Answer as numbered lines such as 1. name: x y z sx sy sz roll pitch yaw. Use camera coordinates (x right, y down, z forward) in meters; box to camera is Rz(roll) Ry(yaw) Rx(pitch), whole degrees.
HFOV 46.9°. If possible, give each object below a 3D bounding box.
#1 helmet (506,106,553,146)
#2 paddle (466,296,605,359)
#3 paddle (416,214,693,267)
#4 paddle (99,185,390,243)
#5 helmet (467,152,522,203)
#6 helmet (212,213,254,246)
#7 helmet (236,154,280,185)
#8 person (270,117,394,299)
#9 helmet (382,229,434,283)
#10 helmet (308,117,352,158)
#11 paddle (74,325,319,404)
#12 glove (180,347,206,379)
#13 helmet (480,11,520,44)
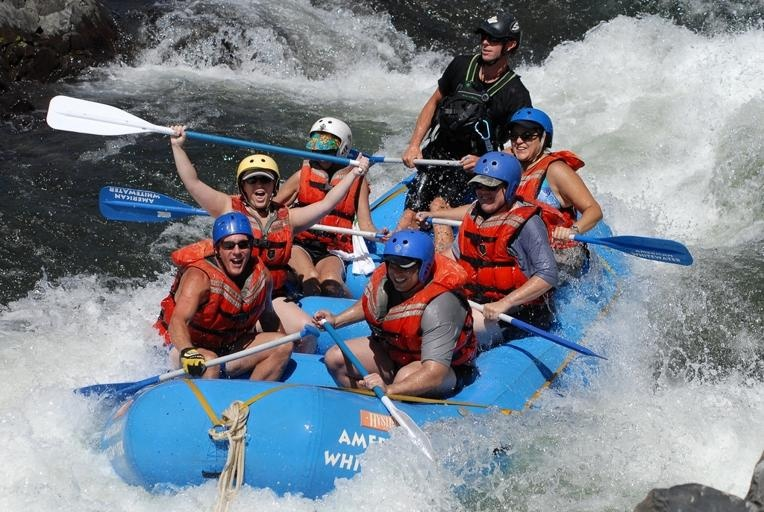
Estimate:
1. helmet: 1.701 -1.469 9.951 0.348 0.493 0.382 16 106 34
2. paddle: 1.592 0.788 9.503 1.325 0.055 0.177 27 113 -5
3. paddle: 1.818 -0.168 9.857 2.743 0.140 0.402 11 84 11
4. paddle: -1.603 -0.486 10.387 3.230 0.213 0.495 10 102 2
5. helmet: 1.234 -0.837 9.376 0.388 0.548 0.438 6 85 39
6. helmet: -1.519 -0.300 8.973 0.269 0.374 0.389 -4 92 -4
7. helmet: -1.367 -0.902 9.603 0.276 0.291 0.405 0 94 -10
8. person: -0.588 -0.568 10.652 1.349 1.145 2.093 9 53 -2
9. helmet: 0.304 -0.034 8.680 0.380 0.529 0.435 -3 84 34
10. helmet: -0.592 -1.449 10.694 0.372 0.515 0.410 -2 83 23
11. paddle: -1.839 1.125 9.029 2.218 0.261 0.242 -16 113 -34
12. glove: -1.828 1.036 8.582 0.205 0.125 0.286 -1 112 23
13. helmet: 1.418 -2.672 10.402 0.429 0.317 0.244 13 95 -35
